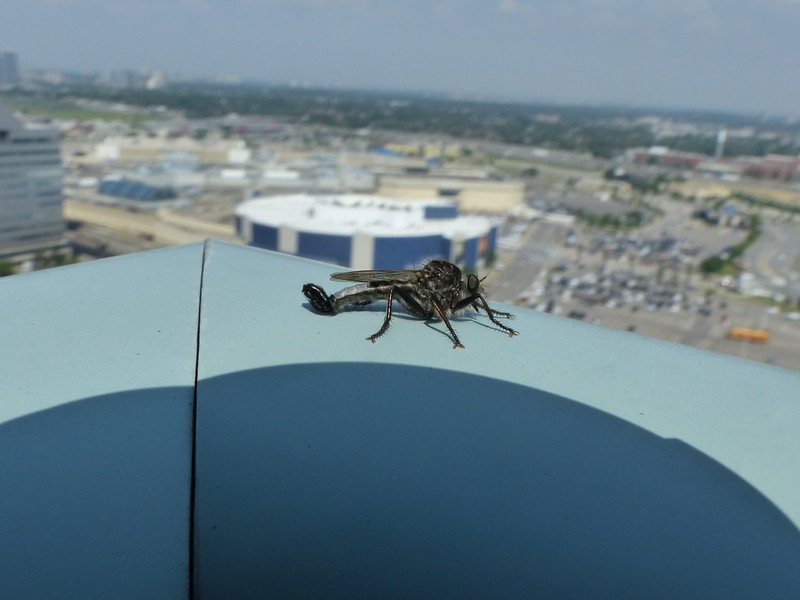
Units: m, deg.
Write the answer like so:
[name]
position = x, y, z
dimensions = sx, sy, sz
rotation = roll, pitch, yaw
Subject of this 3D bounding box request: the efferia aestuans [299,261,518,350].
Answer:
[efferia aestuans]
position = -0.016, -0.016, 1.433
dimensions = 0.329, 0.253, 0.114
rotation = 1, -76, -7
